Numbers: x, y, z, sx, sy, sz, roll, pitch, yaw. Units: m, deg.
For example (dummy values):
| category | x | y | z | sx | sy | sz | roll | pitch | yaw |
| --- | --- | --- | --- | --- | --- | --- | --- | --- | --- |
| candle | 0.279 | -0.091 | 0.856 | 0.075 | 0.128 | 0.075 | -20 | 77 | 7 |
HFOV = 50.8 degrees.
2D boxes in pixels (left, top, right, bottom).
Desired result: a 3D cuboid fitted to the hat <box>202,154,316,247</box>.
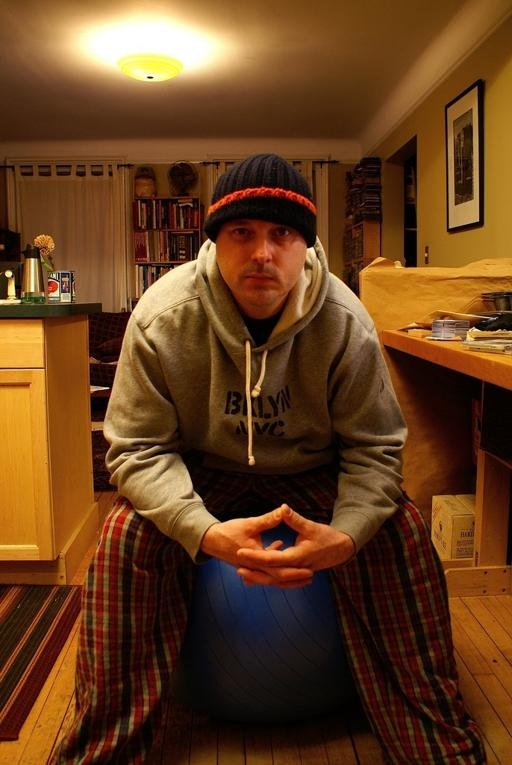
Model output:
| category | x | y | z | sx | sy | sz | roll | pitch | yaw |
| --- | --- | --- | --- | --- | --- | --- | --- | --- | --- |
| hat | 0.005 | -0.279 | 0.909 | 0.148 | 0.127 | 0.154 | 8 | -7 | -3 |

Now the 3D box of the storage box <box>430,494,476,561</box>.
| category | x | y | z | sx | sy | sz | roll | pitch | yaw |
| --- | --- | --- | --- | --- | --- | --- | --- | --- | --- |
| storage box | 0.654 | 0.479 | 1.724 | 0.124 | 0.165 | 0.236 | 2 | -2 | 3 |
